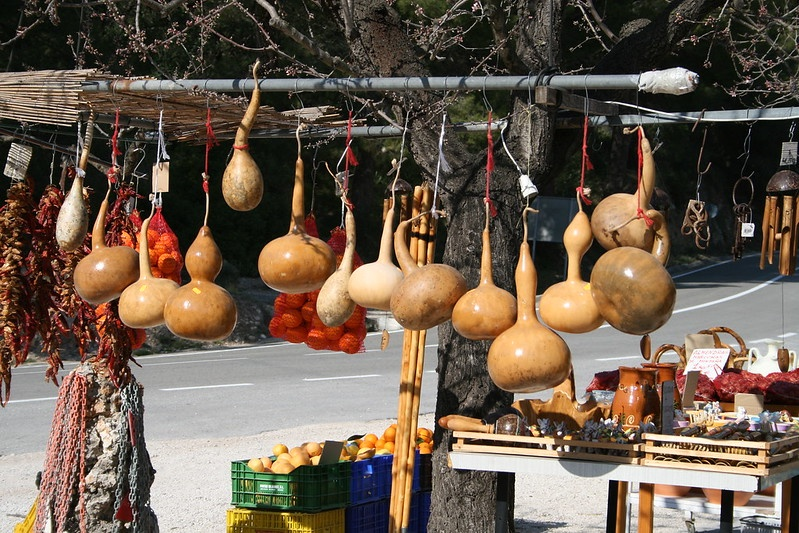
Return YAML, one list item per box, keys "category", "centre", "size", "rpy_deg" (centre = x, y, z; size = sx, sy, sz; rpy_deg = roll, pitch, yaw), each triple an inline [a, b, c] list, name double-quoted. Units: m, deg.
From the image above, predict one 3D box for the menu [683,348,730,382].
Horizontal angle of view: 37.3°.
- category: "menu"
  centre: [2.931, 0.936, 11.288]
  size: [0.390, 0.283, 0.497]
  rpy_deg: [-1, -1, 24]

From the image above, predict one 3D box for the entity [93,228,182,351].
- category: "entity"
  centre: [-2.162, 0.211, 10.028]
  size: [0.754, 0.995, 0.456]
  rpy_deg: [5, -1, 15]

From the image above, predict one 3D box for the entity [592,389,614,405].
- category: "entity"
  centre: [1.776, 1.153, 10.350]
  size: [0.191, 0.105, 0.126]
  rpy_deg: [-1, -1, 8]

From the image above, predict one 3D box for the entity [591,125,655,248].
- category: "entity"
  centre: [1.754, -0.554, 9.049]
  size: [0.458, 0.903, 0.445]
  rpy_deg: [-6, 26, -20]

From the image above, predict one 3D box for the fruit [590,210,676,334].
- category: "fruit"
  centre: [1.827, 0.059, 8.917]
  size: [0.653, 0.911, 0.634]
  rpy_deg: [4, 0, 6]

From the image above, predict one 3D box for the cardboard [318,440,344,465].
- category: "cardboard"
  centre: [-0.625, 1.696, 10.721]
  size: [0.180, 0.170, 0.254]
  rpy_deg: [16, 7, 36]

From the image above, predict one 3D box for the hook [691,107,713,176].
- category: "hook"
  centre: [2.890, -1.156, 11.160]
  size: [0.140, 0.632, 0.023]
  rpy_deg: [0, 24, 7]

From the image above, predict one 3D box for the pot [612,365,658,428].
- category: "pot"
  centre: [2.043, 1.151, 9.882]
  size: [0.384, 0.547, 0.387]
  rpy_deg: [-5, 0, 0]

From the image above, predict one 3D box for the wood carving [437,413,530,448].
- category: "wood carving"
  centre: [0.686, 1.297, 9.649]
  size: [0.618, 0.255, 0.296]
  rpy_deg: [5, 1, 5]

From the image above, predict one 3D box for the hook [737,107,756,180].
- category: "hook"
  centre: [7.534, -2.395, 25.808]
  size: [0.212, 0.172, 1.279]
  rpy_deg: [5, -34, 27]

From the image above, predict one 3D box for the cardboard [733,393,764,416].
- category: "cardboard"
  centre: [3.114, 1.219, 10.539]
  size: [0.335, 0.232, 0.173]
  rpy_deg: [1, 1, 27]

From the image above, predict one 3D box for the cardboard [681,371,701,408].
- category: "cardboard"
  centre: [2.646, 1.129, 10.758]
  size: [0.042, 0.425, 0.313]
  rpy_deg: [4, -1, 41]
